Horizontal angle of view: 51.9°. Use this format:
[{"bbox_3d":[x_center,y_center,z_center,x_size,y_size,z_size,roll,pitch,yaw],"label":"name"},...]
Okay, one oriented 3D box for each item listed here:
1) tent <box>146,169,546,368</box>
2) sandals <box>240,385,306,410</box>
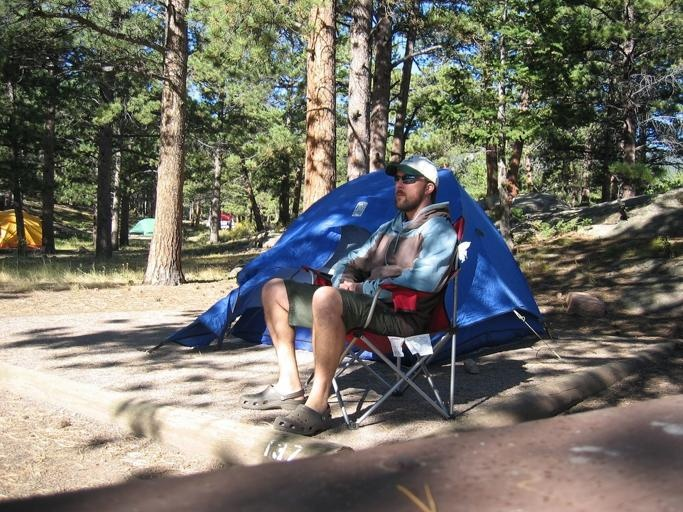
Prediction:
[{"bbox_3d":[0.560,-0.009,7.699,2.776,3.275,2.352,4,5,37],"label":"tent"},{"bbox_3d":[-0.566,1.181,5.739,0.475,0.218,0.216,2,-11,3],"label":"sandals"}]
